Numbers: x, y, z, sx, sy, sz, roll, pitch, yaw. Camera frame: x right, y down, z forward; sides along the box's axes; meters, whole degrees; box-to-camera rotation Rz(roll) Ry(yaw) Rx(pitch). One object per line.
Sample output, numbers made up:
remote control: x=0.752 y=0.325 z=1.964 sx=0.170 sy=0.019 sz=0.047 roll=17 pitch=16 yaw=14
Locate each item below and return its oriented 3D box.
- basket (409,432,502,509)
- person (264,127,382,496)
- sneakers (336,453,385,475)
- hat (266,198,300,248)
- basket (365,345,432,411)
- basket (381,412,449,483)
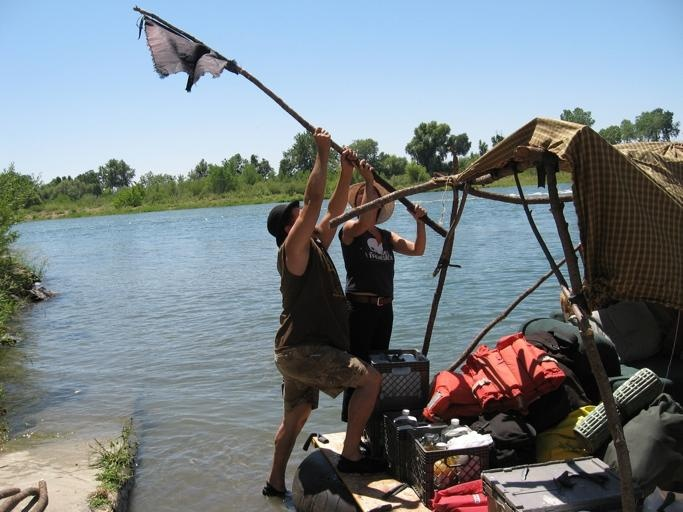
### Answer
basket: x=0.980 y=1.866 z=5.146 sx=0.590 sy=0.419 sz=0.581 roll=1 pitch=-3 yaw=-21
person: x=-0.172 y=0.884 z=5.752 sx=1.197 sy=3.561 sz=0.823 roll=4 pitch=11 yaw=42
sneakers: x=0.186 y=2.046 z=5.633 sx=0.477 sy=0.188 sz=0.172 roll=0 pitch=-3 yaw=-2
hat: x=-0.628 y=-0.350 z=5.935 sx=0.178 sy=0.468 sz=0.396 roll=25 pitch=-28 yaw=3
basket: x=0.622 y=1.263 z=5.992 sx=0.553 sy=0.512 sz=0.549 roll=0 pitch=3 yaw=-6
basket: x=0.640 y=1.802 z=5.421 sx=0.527 sy=0.342 sz=0.523 roll=2 pitch=2 yaw=-8
